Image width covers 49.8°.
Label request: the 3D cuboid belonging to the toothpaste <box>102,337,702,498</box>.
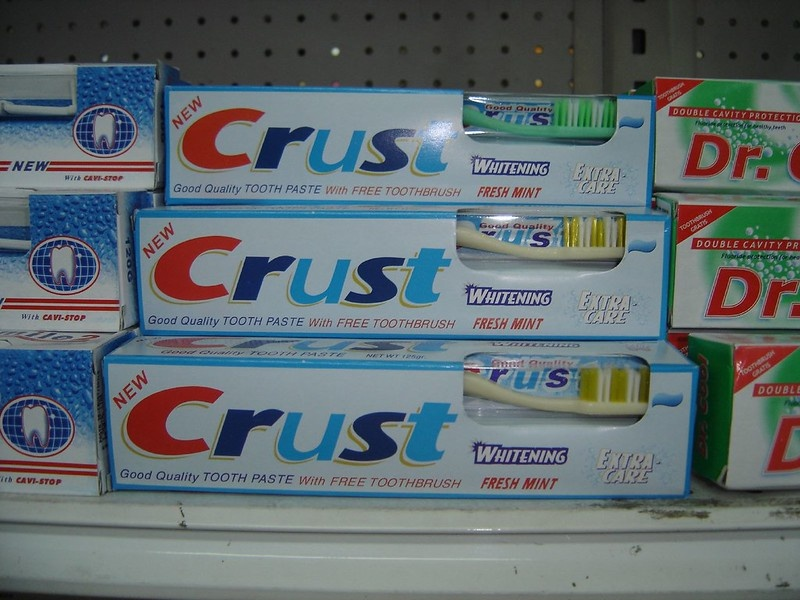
[{"bbox_3d":[-0.004,0.143,1.097,0.748,0.197,0.095,0,-25,2],"label":"toothpaste"}]

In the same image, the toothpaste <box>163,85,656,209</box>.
[{"bbox_3d":[0.016,-0.227,1.202,0.673,0.084,0.174,0,-59,-5],"label":"toothpaste"}]

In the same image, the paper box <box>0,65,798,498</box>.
[{"bbox_3d":[0.031,0.051,1.323,0.688,0.409,0.479,0,-8,0],"label":"paper box"}]
